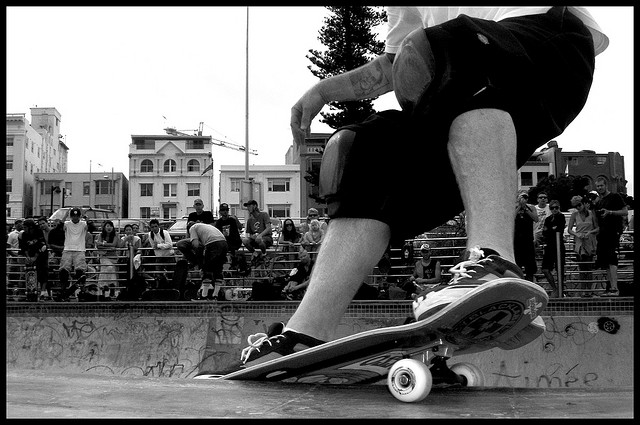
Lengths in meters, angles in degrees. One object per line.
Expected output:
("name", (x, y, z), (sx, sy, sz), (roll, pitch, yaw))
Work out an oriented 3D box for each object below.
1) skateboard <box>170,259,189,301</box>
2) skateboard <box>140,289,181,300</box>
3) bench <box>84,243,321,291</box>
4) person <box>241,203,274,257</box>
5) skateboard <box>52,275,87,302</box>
("skateboard", (-1.998, 0.933, 14.724), (0.108, 0.631, 0.184), (-21, -50, 0))
("skateboard", (-2.274, 1.167, 14.557), (0.557, 0.115, 0.463), (2, 4, 7))
("bench", (-2.018, 0.860, 15.973), (4.032, 0.850, 0.063), (-1, -19, 20))
("person", (-1.019, 0.333, 16.663), (0.574, 0.969, 0.521), (8, -18, -39))
("skateboard", (-3.739, 1.150, 15.342), (0.648, 0.166, 0.102), (-32, 5, -37))
